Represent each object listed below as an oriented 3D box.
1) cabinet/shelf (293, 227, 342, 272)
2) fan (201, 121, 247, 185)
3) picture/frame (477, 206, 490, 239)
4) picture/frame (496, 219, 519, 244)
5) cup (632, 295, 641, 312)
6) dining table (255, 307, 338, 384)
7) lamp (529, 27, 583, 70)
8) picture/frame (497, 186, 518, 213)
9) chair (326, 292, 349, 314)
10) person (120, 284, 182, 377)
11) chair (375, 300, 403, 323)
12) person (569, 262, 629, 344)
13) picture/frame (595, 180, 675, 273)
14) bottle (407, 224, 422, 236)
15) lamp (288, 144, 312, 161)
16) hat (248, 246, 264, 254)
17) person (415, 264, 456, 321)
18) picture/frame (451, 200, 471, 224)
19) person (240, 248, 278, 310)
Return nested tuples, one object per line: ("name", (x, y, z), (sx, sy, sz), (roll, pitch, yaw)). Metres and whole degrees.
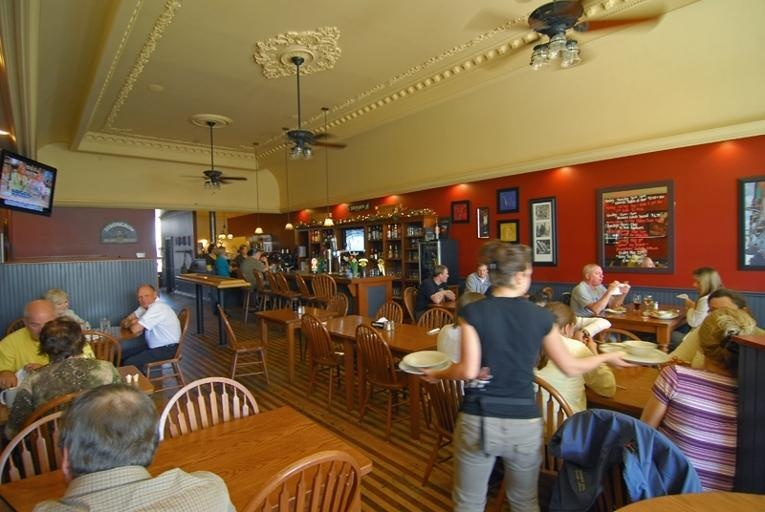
("cabinet/shelf", (-1.540, -0.189, 12.146), (0.347, 1.026, 1.126), (-1, 0, -43))
("fan", (-3.568, -2.332, 11.180), (1.076, 1.023, 1.092), (5, 11, 38))
("picture/frame", (1.812, -0.610, 9.181), (0.040, 0.388, 0.315), (-4, 2, -36))
("picture/frame", (2.103, -0.421, 8.425), (0.038, 0.543, 0.545), (4, 0, -36))
("cup", (3.553, 0.663, 7.061), (0.143, 0.218, 0.144), (3, -2, 0))
("dining table", (-1.141, 1.201, 7.265), (1.068, 0.965, 1.047), (0, 1, -43))
("lamp", (1.760, -2.048, 5.067), (0.491, 0.184, 0.385), (-4, 2, -35))
("picture/frame", (2.179, -0.986, 8.759), (0.038, 0.532, 0.479), (1, 1, -39))
("chair", (-0.695, 0.699, 7.396), (0.271, 0.458, 0.324), (0, -8, 29))
("person", (-2.908, 1.039, 6.303), (0.770, 1.333, 0.563), (6, -9, -38))
("chair", (0.108, 0.728, 6.664), (0.279, 0.363, 0.267), (0, -11, 12))
("person", (2.735, 0.751, 6.377), (0.591, 1.243, 0.699), (-8, 10, -30))
("picture/frame", (3.732, -0.433, 7.373), (1.408, 1.881, 0.094), (0, 1, 43))
("bottle", (0.639, -0.516, 10.101), (0.240, 0.224, 0.236), (2, -3, -14))
("lamp", (-1.125, -1.410, 6.872), (0.259, 0.154, 0.380), (-4, 1, -12))
("hat", (-3.387, -0.164, 13.491), (0.170, 0.218, 0.222), (4, -16, 8))
("person", (0.773, 0.683, 7.619), (0.608, 1.059, 0.480), (10, 11, 20))
("picture/frame", (1.484, -0.850, 9.529), (0.076, 0.519, 0.466), (4, -3, -38))
("person", (-2.880, 0.669, 11.359), (0.724, 1.662, 0.653), (0, 0, 40))
